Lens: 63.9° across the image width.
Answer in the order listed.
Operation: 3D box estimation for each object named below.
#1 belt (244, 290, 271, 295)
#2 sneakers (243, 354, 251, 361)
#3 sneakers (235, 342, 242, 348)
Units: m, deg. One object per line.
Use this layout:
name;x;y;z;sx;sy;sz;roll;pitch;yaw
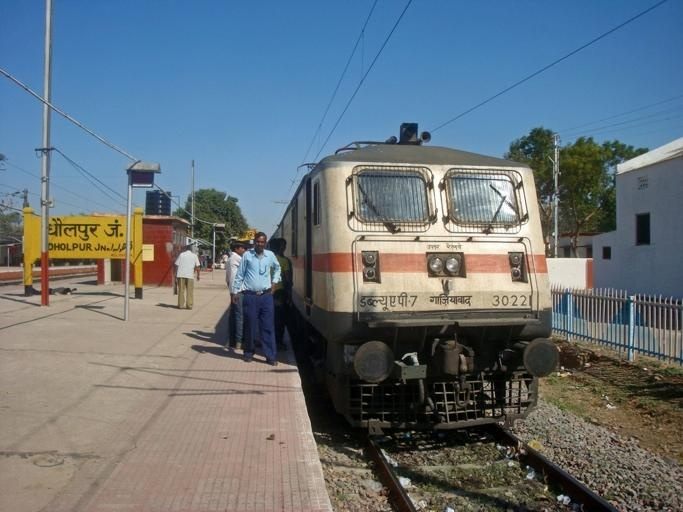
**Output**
belt;-1.353;0.573;8.964;0.440;0.096;0.129;5;3;-25
sneakers;-1.568;1.707;9.203;0.156;0.164;0.089;0;-8;-3
sneakers;-1.934;1.692;10.407;0.115;0.118;0.090;-2;-7;35
